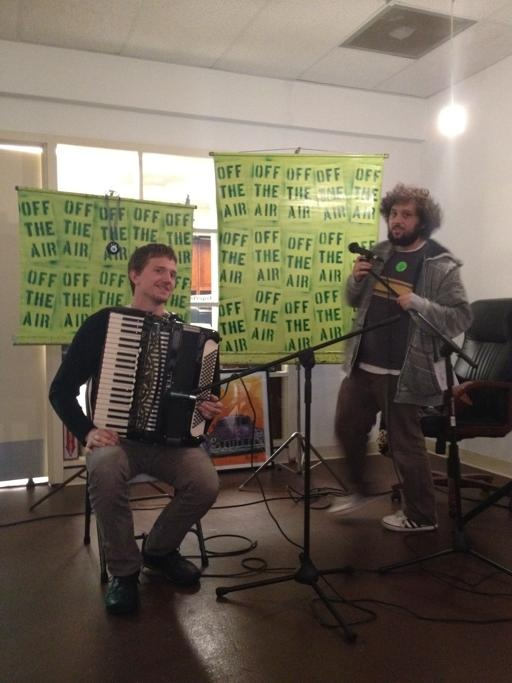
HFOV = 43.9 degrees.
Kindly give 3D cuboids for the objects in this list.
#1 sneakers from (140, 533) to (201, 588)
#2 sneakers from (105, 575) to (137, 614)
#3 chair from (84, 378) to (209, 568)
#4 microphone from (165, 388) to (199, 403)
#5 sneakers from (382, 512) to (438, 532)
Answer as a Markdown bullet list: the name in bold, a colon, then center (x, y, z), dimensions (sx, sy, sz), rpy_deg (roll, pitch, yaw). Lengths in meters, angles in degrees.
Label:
- **sneakers**: center (-0.309, 0.825, 2.403), dimensions (0.272, 0.120, 0.106), rpy_deg (17, 0, 24)
- **sneakers**: center (-0.459, 0.849, 2.176), dimensions (0.110, 0.092, 0.194), rpy_deg (-1, 4, -10)
- **chair**: center (-0.394, 0.552, 2.263), dimensions (0.504, 0.514, 0.447), rpy_deg (6, -19, -18)
- **microphone**: center (-0.262, 0.187, 2.262), dimensions (0.129, 0.038, 0.038), rpy_deg (9, 1, -18)
- **sneakers**: center (0.671, 0.784, 2.846), dimensions (0.254, 0.096, 0.088), rpy_deg (5, -6, 7)
